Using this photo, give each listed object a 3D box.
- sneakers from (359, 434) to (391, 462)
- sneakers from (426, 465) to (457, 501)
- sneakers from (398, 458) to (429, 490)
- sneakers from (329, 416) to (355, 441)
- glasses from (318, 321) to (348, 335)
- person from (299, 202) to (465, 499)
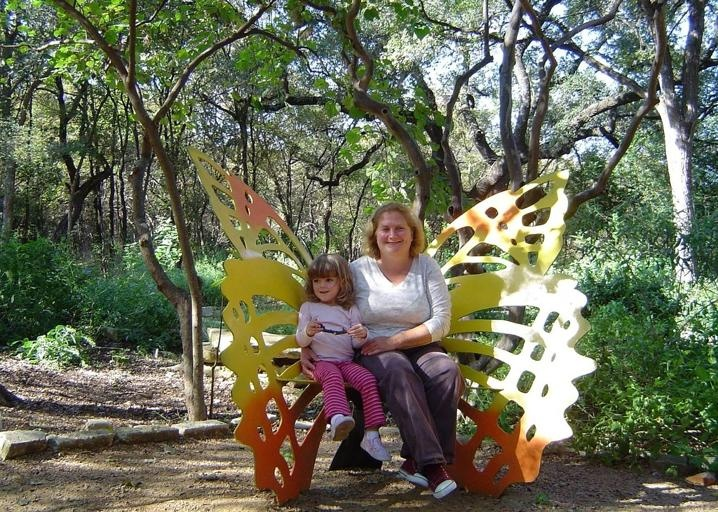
[{"bbox_3d":[0.108,1.213,3.437,0.100,0.115,0.274,-12,11,-26],"label":"sneakers"},{"bbox_3d":[0.498,1.366,3.292,0.107,0.129,0.297,-26,-5,-11],"label":"sneakers"},{"bbox_3d":[0.365,1.416,3.510,0.111,0.132,0.302,7,-11,-24],"label":"sneakers"},{"bbox_3d":[-0.107,1.085,3.375,0.135,0.199,0.154,2,3,-7],"label":"sneakers"},{"bbox_3d":[-0.169,0.507,3.730,0.112,0.045,0.113,16,-4,-12],"label":"glasses"},{"bbox_3d":[0.325,0.539,3.654,0.725,1.816,0.994,2,3,-6],"label":"person"}]
